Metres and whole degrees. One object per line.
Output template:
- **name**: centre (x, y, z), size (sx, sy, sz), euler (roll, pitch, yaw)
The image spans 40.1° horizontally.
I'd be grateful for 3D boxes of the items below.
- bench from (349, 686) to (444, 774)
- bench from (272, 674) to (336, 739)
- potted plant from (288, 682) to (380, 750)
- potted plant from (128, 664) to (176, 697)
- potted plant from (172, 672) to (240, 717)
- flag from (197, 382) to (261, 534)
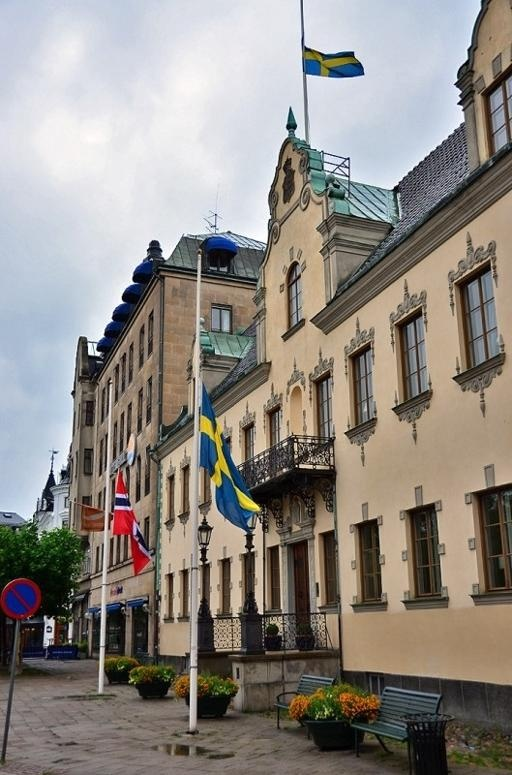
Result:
- **bench**: centre (1.566, 3.854, 7.924), size (0.482, 0.882, 1.206), euler (10, -19, -18)
- **bench**: centre (0.698, 4.975, 10.865), size (0.534, 0.919, 1.348), euler (8, -20, -15)
- **potted plant**: centre (1.023, 4.276, 9.140), size (0.837, 0.743, 1.020), euler (7, -28, -22)
- **potted plant**: centre (-2.786, 7.950, 18.930), size (1.170, 0.805, 1.032), euler (0, -19, -6)
- **potted plant**: centre (-0.992, 6.132, 13.977), size (0.778, 0.769, 1.136), euler (14, -25, -37)
- **flag**: centre (-0.668, 1.447, 14.012), size (0.448, 2.518, 1.384), euler (-18, -24, 42)
